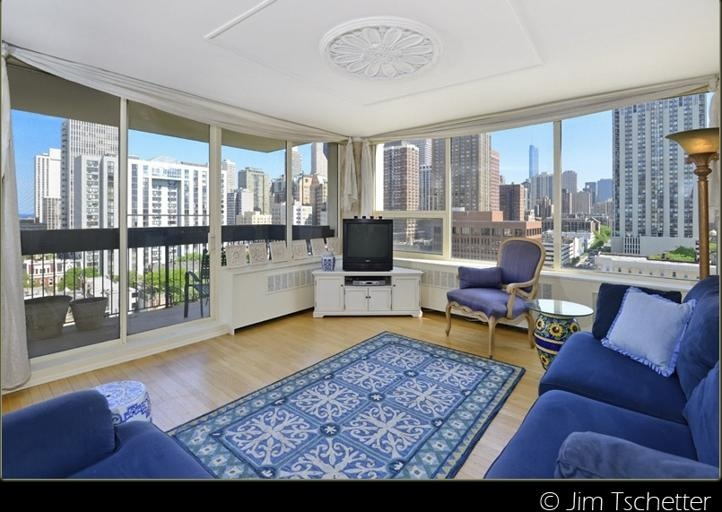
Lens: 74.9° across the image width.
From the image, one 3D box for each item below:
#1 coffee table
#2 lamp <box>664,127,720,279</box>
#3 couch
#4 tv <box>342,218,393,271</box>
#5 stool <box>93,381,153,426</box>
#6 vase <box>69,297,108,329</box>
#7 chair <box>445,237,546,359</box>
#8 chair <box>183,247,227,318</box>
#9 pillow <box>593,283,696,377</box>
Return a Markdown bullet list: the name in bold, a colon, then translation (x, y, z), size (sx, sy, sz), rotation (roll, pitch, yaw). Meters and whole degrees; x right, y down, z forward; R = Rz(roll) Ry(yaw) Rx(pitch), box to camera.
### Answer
- **coffee table**: translation (1.683, 0.734, 4.180), size (0.559, 0.611, 0.535), rotation (9, 9, 32)
- **lamp**: translation (2.913, -0.445, 4.101), size (0.419, 1.278, 0.265), rotation (-5, 7, -23)
- **couch**: translation (1.657, 0.720, 2.973), size (1.026, 0.927, 1.876), rotation (3, 9, 40)
- **tv**: translation (0.073, -0.088, 6.232), size (0.711, 0.688, 0.610), rotation (2, -8, -13)
- **stool**: translation (-1.662, 1.015, 3.352), size (0.310, 0.316, 0.197), rotation (-28, -26, 4)
- **vase**: translation (-2.676, 0.561, 4.598), size (0.389, 0.306, 0.240), rotation (-4, 17, -39)
- **chair**: translation (1.420, 0.376, 5.037), size (0.938, 1.153, 0.947), rotation (7, 9, 26)
- **chair**: translation (-1.852, 0.296, 5.359), size (0.330, 0.634, 0.375), rotation (-5, -3, 22)
- **pillow**: translation (2.043, 0.539, 3.393), size (0.166, 0.550, 0.553), rotation (21, 8, -22)
